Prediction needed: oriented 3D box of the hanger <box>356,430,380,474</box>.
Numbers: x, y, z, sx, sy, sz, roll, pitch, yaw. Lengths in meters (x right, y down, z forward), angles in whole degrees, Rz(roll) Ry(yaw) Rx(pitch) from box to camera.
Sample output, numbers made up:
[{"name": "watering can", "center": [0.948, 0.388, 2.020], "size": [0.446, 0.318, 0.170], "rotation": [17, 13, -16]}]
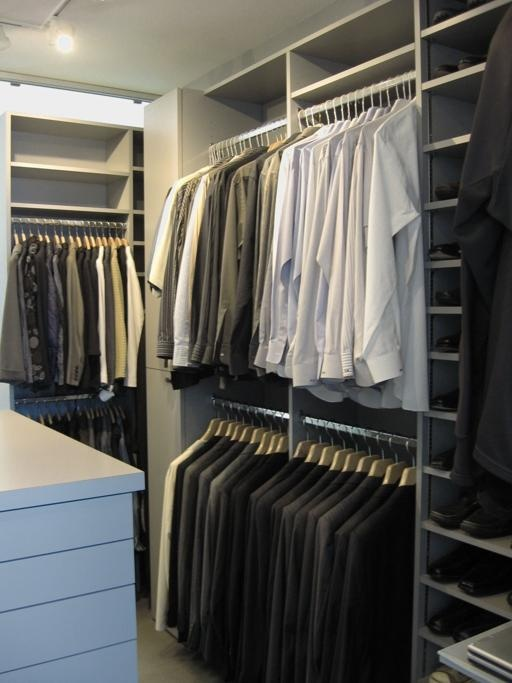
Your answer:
[{"name": "hanger", "center": [0.400, 0.395, 2.043], "size": [0.016, 0.180, 0.150], "rotation": [-1, 0, 38]}]

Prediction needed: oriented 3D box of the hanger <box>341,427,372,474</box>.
[{"name": "hanger", "center": [0.365, 0.396, 2.064], "size": [0.016, 0.173, 0.143], "rotation": [-5, -6, 40]}]

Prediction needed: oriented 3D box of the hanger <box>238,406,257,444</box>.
[{"name": "hanger", "center": [-0.034, 0.379, 2.580], "size": [0.100, 0.204, 0.019], "rotation": [15, -27, -33]}]

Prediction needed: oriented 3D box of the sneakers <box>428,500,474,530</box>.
[{"name": "sneakers", "center": [0.545, 0.481, 1.593], "size": [0.137, 0.064, 0.050], "rotation": [5, -8, -43]}]

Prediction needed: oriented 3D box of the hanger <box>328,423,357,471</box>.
[{"name": "hanger", "center": [0.317, 0.390, 2.100], "size": [0.019, 0.149, 0.134], "rotation": [-5, -8, 37]}]

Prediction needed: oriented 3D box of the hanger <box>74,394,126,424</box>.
[{"name": "hanger", "center": [-0.914, 0.417, 3.413], "size": [0.180, 0.208, 0.083], "rotation": [3, -20, -18]}]

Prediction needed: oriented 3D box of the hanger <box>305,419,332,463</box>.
[{"name": "hanger", "center": [0.232, 0.381, 2.201], "size": [0.115, 0.145, 0.131], "rotation": [-12, -15, 42]}]

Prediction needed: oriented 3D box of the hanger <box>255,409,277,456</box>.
[{"name": "hanger", "center": [0.044, 0.393, 2.452], "size": [0.032, 0.268, 0.143], "rotation": [0, -2, 36]}]

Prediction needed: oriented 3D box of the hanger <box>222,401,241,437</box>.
[{"name": "hanger", "center": [-0.114, 0.363, 2.669], "size": [0.121, 0.225, 0.027], "rotation": [4, -9, -35]}]

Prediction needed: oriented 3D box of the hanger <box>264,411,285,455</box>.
[{"name": "hanger", "center": [0.081, 0.390, 2.427], "size": [0.041, 0.138, 0.138], "rotation": [-6, -9, 36]}]

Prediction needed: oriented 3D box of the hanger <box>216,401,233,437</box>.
[{"name": "hanger", "center": [-0.148, 0.368, 2.689], "size": [0.020, 0.152, 0.126], "rotation": [-6, -9, 44]}]

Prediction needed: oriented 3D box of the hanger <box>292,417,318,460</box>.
[{"name": "hanger", "center": [0.181, 0.367, 2.151], "size": [0.121, 0.245, 0.024], "rotation": [6, -10, -38]}]

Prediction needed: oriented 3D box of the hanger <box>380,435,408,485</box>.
[{"name": "hanger", "center": [0.479, 0.409, 1.963], "size": [0.036, 0.291, 0.154], "rotation": [-1, -3, 38]}]

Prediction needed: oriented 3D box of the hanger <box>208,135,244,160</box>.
[{"name": "hanger", "center": [-0.138, -0.900, 2.660], "size": [0.176, 0.133, 0.050], "rotation": [7, 24, 42]}]

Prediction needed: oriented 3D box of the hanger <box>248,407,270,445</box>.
[{"name": "hanger", "center": [0.017, 0.375, 2.536], "size": [0.024, 0.183, 0.132], "rotation": [-4, -5, 36]}]

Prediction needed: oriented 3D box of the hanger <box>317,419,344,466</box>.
[{"name": "hanger", "center": [0.297, 0.379, 2.166], "size": [0.123, 0.176, 0.157], "rotation": [-9, -12, 43]}]
